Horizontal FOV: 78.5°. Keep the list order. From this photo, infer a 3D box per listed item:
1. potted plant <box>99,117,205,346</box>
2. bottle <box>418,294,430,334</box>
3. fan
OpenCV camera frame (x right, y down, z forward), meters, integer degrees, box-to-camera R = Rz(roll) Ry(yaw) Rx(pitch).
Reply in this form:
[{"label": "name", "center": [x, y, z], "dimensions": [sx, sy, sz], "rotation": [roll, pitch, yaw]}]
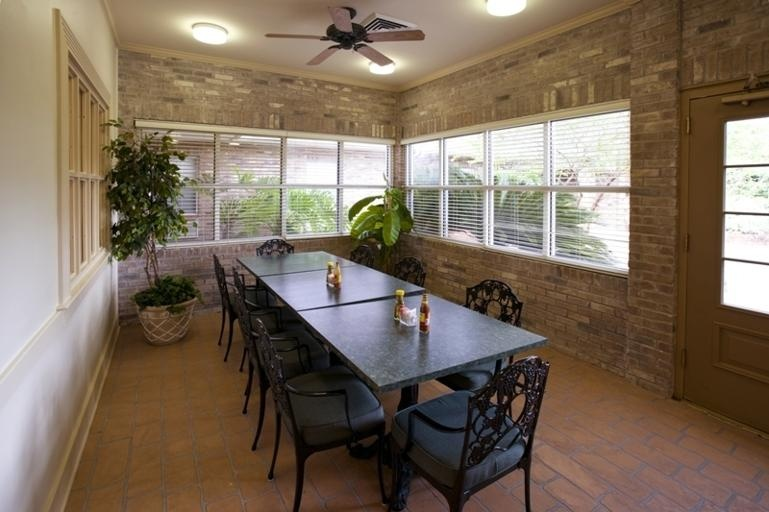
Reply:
[{"label": "potted plant", "center": [-2.634, -0.263, 5.400], "dimensions": [0.936, 2.424, 1.176], "rotation": [-4, 12, -23]}, {"label": "bottle", "center": [0.294, 0.432, 3.566], "dimensions": [0.075, 0.273, 0.145], "rotation": [1, 11, 4]}, {"label": "fan", "center": [-0.278, -2.211, 4.567], "dimensions": [1.110, 0.533, 1.002], "rotation": [-2, 10, -10]}]
